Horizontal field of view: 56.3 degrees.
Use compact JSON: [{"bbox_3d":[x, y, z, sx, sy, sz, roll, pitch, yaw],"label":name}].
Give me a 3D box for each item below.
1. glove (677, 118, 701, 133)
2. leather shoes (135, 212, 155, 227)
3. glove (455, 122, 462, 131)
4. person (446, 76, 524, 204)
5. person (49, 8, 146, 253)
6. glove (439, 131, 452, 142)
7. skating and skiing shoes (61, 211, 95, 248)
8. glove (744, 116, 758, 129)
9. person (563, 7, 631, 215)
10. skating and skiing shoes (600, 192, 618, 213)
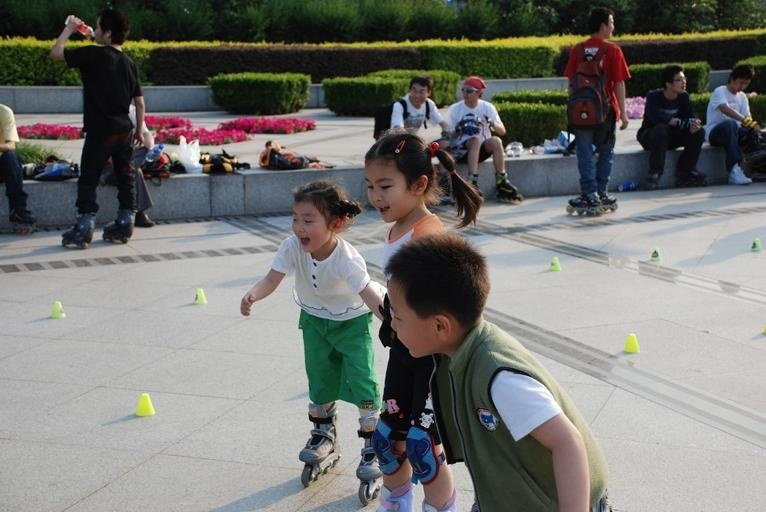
[{"bbox_3d":[4.817,-2.056,11.237,0.343,0.222,0.185,-1,9,-3],"label":"glove"},{"bbox_3d":[-3.064,-0.473,9.297,0.323,0.152,0.121,5,13,30],"label":"leather shoes"},{"bbox_3d":[1.087,-1.882,10.385,0.078,0.120,0.047,28,-6,32],"label":"glove"},{"bbox_3d":[1.386,-1.745,10.390,0.723,1.808,1.241,-2,8,-20],"label":"person"},{"bbox_3d":[-3.356,-1.402,8.620,1.126,2.879,1.130,5,-7,-34],"label":"person"},{"bbox_3d":[0.896,-1.746,10.380,0.154,0.172,0.161,-3,15,-10],"label":"glove"},{"bbox_3d":[-3.558,-0.289,8.330,0.245,0.227,0.489,3,11,2],"label":"skating and skiing shoes"},{"bbox_3d":[6.023,-2.172,11.713,0.148,0.169,0.455,8,12,42],"label":"glove"},{"bbox_3d":[2.899,-1.887,9.786,0.743,2.666,1.239,2,4,25],"label":"person"},{"bbox_3d":[3.153,-0.758,10.157,0.139,0.189,0.398,-4,4,-5],"label":"skating and skiing shoes"}]
